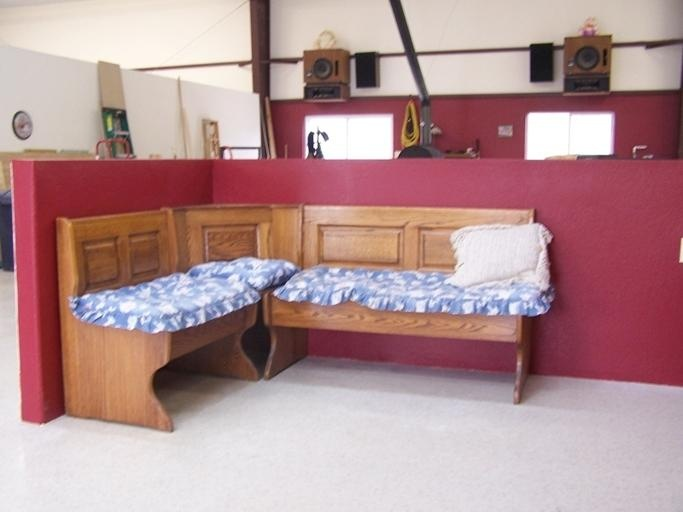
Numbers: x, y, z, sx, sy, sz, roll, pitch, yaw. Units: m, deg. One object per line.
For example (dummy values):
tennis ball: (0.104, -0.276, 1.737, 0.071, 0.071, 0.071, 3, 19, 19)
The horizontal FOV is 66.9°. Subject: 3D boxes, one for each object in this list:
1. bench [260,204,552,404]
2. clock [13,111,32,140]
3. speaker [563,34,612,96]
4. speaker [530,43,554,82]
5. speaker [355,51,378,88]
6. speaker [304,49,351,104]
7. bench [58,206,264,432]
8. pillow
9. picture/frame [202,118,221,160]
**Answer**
bench: (0.372, 0.252, 3.598, 1.756, 1.158, 0.740, 1, 10, 25)
clock: (-4.179, -1.748, 6.776, 0.033, 0.312, 0.314, 12, 10, 32)
speaker: (4.140, -3.200, 8.482, 0.596, 0.950, 0.773, -35, 36, -29)
speaker: (3.357, -3.258, 8.659, 0.377, 0.638, 0.186, 1, 11, 20)
speaker: (0.461, -3.418, 9.381, 0.569, 0.665, 0.359, 4, 11, 19)
speaker: (-0.263, -3.336, 9.499, 0.853, 0.810, 0.468, 10, 18, 32)
bench: (-1.120, 0.314, 3.406, 0.782, 1.088, 1.129, 5, 9, 15)
pillow: (1.025, -0.008, 3.383, 0.600, 0.367, 0.382, 0, 10, 12)
picture/frame: (-2.191, -2.003, 8.705, 0.294, 0.665, 0.767, -5, 10, -12)
